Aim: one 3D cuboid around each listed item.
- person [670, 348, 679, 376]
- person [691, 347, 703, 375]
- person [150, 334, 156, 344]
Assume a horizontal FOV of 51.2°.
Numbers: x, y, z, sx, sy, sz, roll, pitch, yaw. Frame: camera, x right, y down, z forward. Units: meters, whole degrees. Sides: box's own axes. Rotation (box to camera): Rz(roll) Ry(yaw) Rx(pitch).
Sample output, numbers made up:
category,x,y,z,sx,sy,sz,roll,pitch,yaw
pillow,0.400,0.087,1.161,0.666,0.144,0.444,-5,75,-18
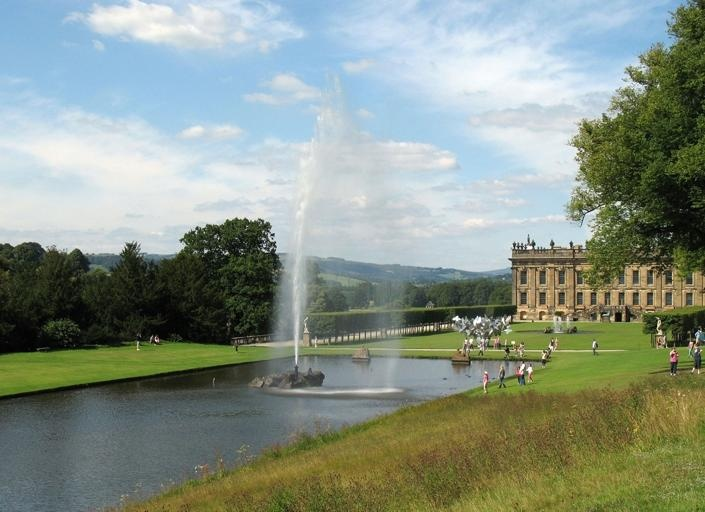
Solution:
category,x,y,z,sx,sy,sz,roll,pitch,yaw
person,17.758,5.880,41.014,0.334,1.426,1.348,-1,-6,21
person,19.084,5.766,41.156,0.436,1.551,1.128,-1,-6,22
person,-21.410,9.097,79.501,0.566,1.225,0.695,1,32,-6
